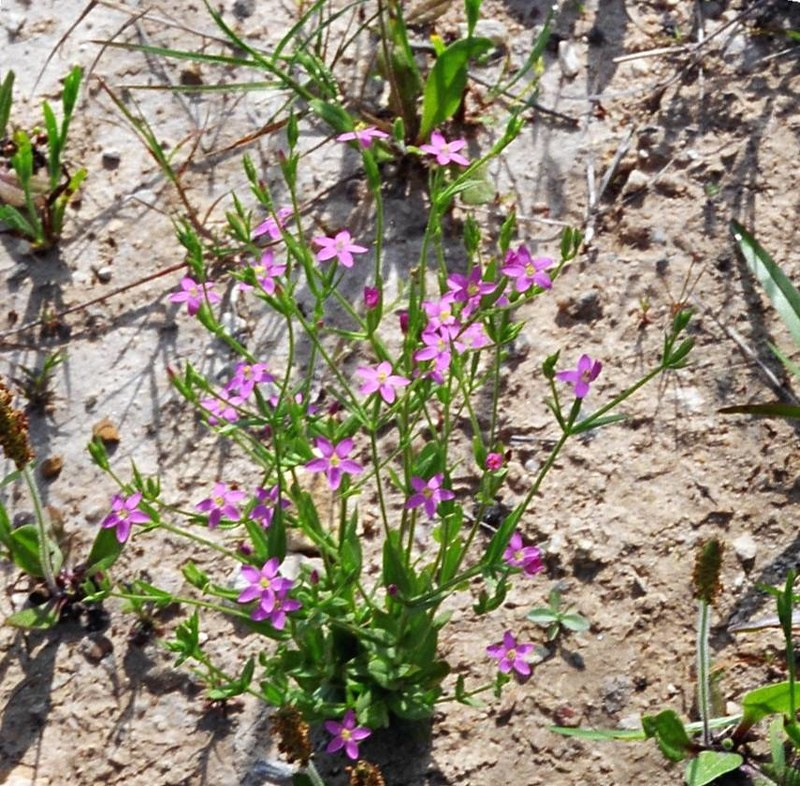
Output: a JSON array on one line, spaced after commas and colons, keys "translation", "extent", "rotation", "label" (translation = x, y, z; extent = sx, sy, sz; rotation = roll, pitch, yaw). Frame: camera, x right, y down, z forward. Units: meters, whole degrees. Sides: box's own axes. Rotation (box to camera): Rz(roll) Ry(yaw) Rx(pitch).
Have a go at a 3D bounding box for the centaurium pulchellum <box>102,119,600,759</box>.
[{"translation": [-0.125, 0.210, 3.709], "extent": [1.218, 1.808, 1.231], "rotation": [12, 21, 24], "label": "centaurium pulchellum"}]
